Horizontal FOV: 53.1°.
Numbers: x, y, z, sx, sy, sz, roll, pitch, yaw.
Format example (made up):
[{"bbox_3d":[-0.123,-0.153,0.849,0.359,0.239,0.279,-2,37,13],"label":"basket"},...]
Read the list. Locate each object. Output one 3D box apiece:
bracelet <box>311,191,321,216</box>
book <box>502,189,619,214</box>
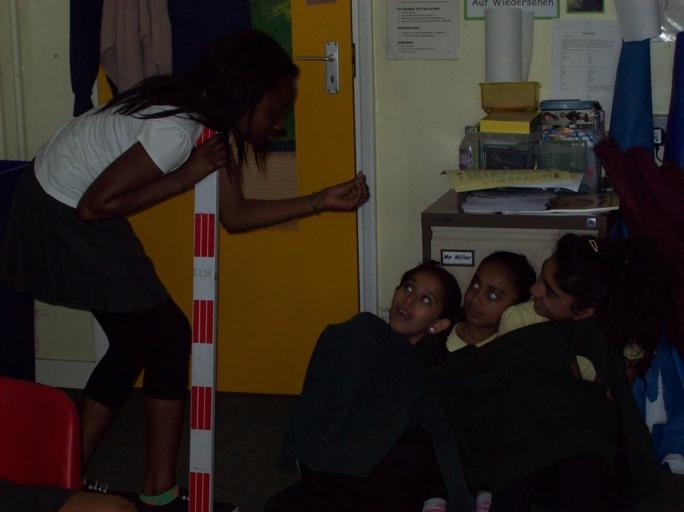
[{"bbox_3d":[-0.091,-0.186,2.354,0.017,0.061,0.041,3,-6,-7],"label":"bracelet"},{"bbox_3d":[0.752,-0.181,2.359,0.416,0.056,0.258,1,13,2],"label":"book"}]
